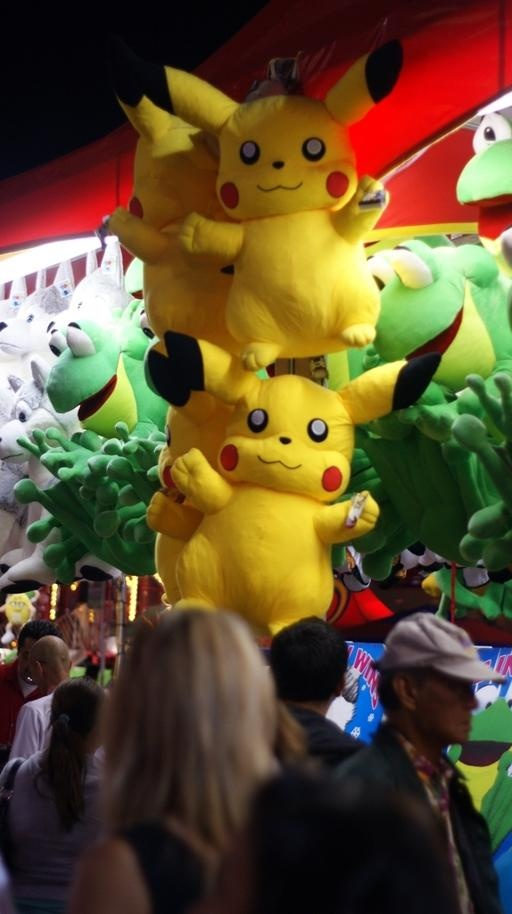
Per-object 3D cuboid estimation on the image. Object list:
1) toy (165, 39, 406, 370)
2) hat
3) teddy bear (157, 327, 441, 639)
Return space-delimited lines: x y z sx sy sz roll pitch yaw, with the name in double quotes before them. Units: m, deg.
"toy" 0.095 -0.734 2.179 0.732 0.943 0.261 2 2 22
"hat" 0.331 0.330 1.306 0.177 0.088 0.121 5 -6 35
"teddy bear" 0.121 0.034 2.212 1.037 1.035 0.454 8 -9 4
